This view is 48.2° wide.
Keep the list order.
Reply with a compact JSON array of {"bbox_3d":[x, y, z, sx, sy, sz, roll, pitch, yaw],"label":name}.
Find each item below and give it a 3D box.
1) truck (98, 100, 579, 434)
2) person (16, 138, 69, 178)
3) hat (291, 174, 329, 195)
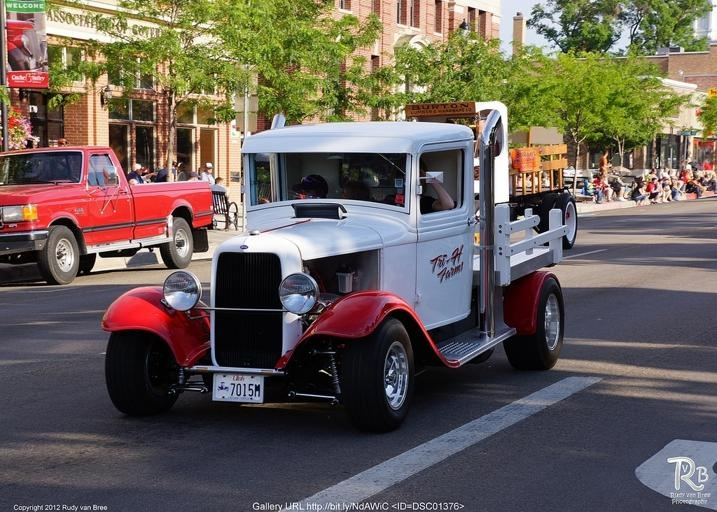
[{"bbox_3d":[0.245,0.051,8.674,2.483,2.699,5.139,-1,0,28],"label":"truck"},{"bbox_3d":[-6.440,-1.844,16.472,1.198,0.701,0.398,0,7,6],"label":"person"},{"bbox_3d":[-0.470,-0.704,8.030,0.264,0.144,0.187,15,1,14],"label":"hat"}]
